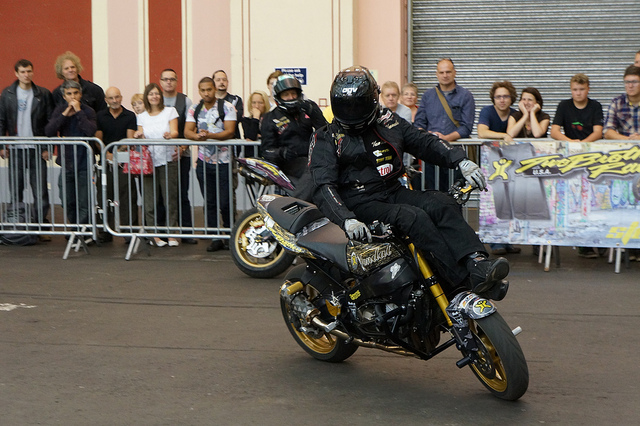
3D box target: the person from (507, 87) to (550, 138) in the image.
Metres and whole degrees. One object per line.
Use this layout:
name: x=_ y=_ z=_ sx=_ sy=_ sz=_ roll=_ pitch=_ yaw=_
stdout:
person: x=3.082 y=-1.543 z=12.581 sx=0.577 sy=0.703 sz=0.694 roll=3 pitch=14 yaw=12

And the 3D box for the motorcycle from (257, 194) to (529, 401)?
motorcycle: x=0.586 y=0.713 z=8.014 sx=1.286 sy=1.816 sz=3.334 roll=-11 pitch=10 yaw=-37

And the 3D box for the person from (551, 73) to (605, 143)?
person: x=3.799 y=-1.558 z=12.636 sx=0.880 sy=1.066 sz=0.686 roll=-9 pitch=13 yaw=-10

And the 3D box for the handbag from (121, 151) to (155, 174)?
handbag: x=-2.736 y=-0.815 z=12.897 sx=0.362 sy=0.289 sz=0.143 roll=3 pitch=30 yaw=0

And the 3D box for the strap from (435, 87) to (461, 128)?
strap: x=1.935 y=-1.637 z=12.875 sx=0.107 sy=0.734 sz=0.108 roll=-36 pitch=-12 yaw=-7

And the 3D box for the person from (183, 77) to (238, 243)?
person: x=-1.628 y=-0.776 z=12.898 sx=0.788 sy=2.595 sz=1.590 roll=-2 pitch=14 yaw=-9

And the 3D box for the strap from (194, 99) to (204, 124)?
strap: x=-1.894 y=-1.670 z=13.312 sx=0.224 sy=0.294 sz=0.288 roll=1 pitch=-13 yaw=-3

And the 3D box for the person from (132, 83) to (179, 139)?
person: x=-2.649 y=-1.591 z=13.564 sx=0.818 sy=1.007 sz=0.709 roll=0 pitch=14 yaw=14

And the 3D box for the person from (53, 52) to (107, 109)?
person: x=-4.012 y=-2.360 z=14.364 sx=1.251 sy=0.720 sz=0.637 roll=12 pitch=23 yaw=20
